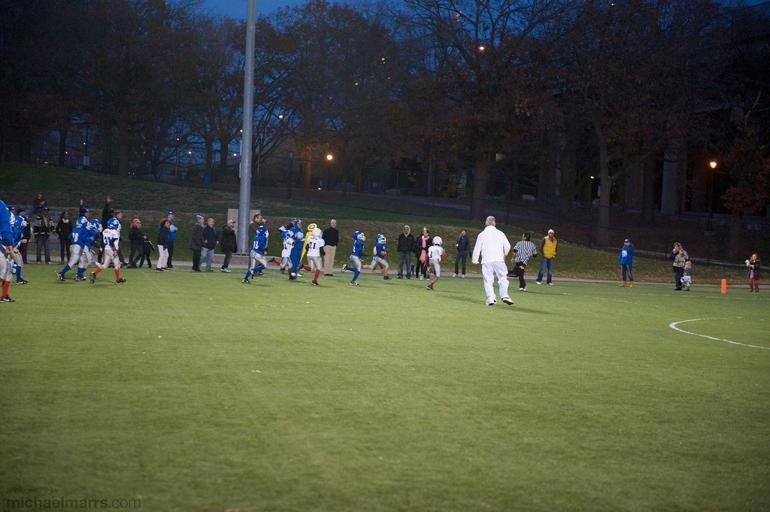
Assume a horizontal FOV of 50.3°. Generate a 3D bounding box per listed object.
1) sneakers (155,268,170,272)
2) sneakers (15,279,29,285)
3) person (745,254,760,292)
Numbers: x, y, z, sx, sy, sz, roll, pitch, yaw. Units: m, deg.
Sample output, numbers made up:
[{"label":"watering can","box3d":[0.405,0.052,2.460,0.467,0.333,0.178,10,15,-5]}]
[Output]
[{"label":"sneakers","box3d":[-8.462,0.516,31.080,0.514,0.186,0.189,-6,-8,43]},{"label":"sneakers","box3d":[-10.767,0.769,24.277,0.439,0.182,0.152,1,1,-12]},{"label":"person","box3d":[16.735,0.730,37.282,0.655,1.760,1.330,8,13,23]}]
